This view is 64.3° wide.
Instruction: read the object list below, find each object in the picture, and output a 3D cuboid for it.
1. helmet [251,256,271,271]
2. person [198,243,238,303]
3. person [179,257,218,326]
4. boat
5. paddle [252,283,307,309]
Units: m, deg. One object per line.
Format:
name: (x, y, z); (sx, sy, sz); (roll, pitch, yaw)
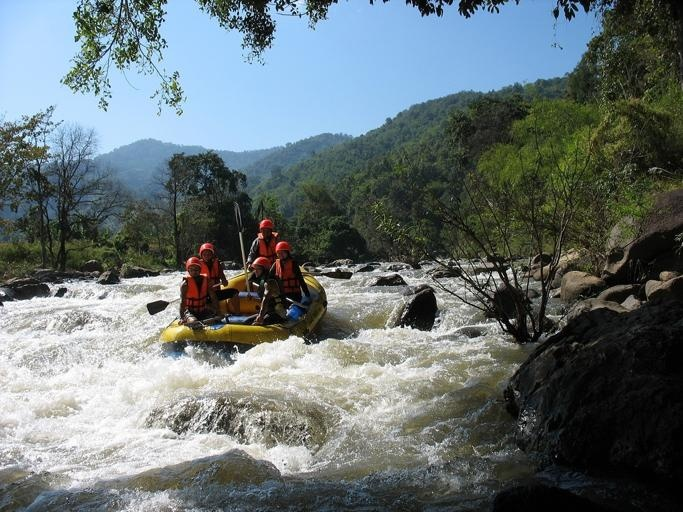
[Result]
helmet: (-1.558, 0.193, 10.431); (0.349, 0.295, 0.265); (10, 9, -43)
person: (-2.738, 0.339, 11.223); (0.913, 1.184, 0.674); (-16, 18, -29)
person: (-2.716, 0.658, 10.229); (0.627, 1.240, 0.792); (-5, 8, -32)
boat: (-1.722, 1.251, 10.146); (3.222, 0.747, 1.878); (-5, 7, -23)
paddle: (-1.115, 0.793, 10.554); (0.711, 0.307, 0.551); (2, 0, -26)
